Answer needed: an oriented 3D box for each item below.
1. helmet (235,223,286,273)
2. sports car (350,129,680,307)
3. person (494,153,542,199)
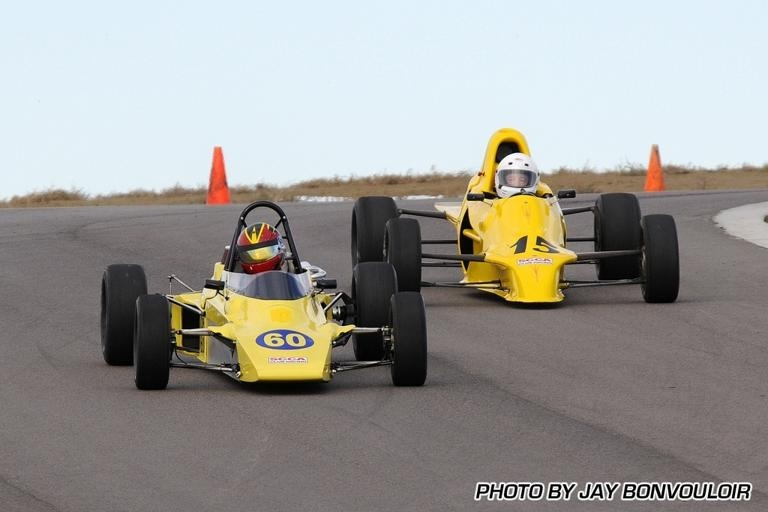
[{"bbox_3d":[-1.319,-0.083,8.199,0.478,0.515,0.654,-12,16,-1],"label":"helmet"},{"bbox_3d":[2.155,-0.237,12.101,2.972,1.542,4.133,1,0,-6],"label":"sports car"},{"bbox_3d":[2.109,-1.272,12.197,0.720,0.841,0.862,2,6,-15],"label":"person"}]
